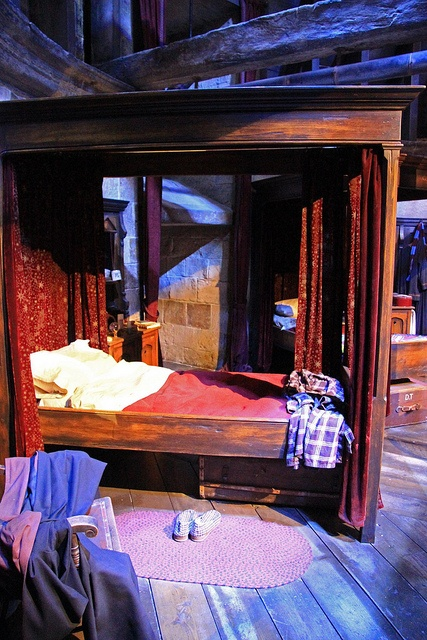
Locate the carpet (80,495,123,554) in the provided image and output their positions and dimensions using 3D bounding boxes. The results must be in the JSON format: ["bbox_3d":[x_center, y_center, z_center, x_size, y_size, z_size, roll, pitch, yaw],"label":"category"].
[{"bbox_3d":[-0.420,0.730,1.831,0.098,0.133,0.445,-2,8,-17],"label":"carpet"}]

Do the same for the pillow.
[{"bbox_3d":[-0.887,0.310,3.048,0.268,0.119,0.372,13,17,21],"label":"pillow"}]

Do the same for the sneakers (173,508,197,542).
[{"bbox_3d":[-0.153,1.037,2.436,0.058,0.062,0.152,3,16,4],"label":"sneakers"}]
